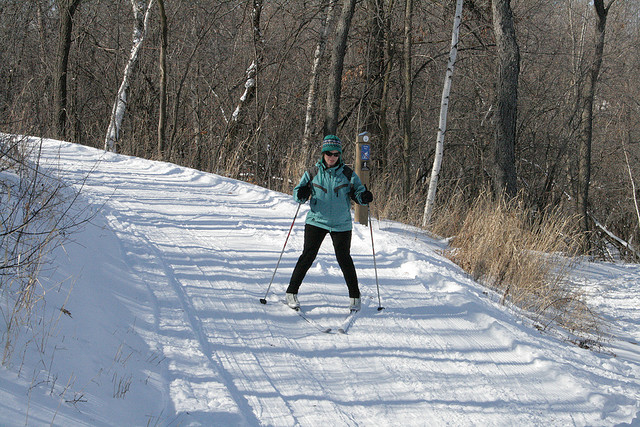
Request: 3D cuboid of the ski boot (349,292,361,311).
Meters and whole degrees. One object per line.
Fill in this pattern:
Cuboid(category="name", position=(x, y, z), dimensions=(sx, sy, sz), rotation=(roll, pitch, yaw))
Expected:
Cuboid(category="ski boot", position=(0.827, 2.026, 16.306), dimensions=(0.296, 0.312, 0.225), rotation=(8, 3, -17))

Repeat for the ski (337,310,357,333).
Cuboid(category="ski", position=(0.620, 2.405, 16.030), dimensions=(0.149, 0.181, 0.953), rotation=(12, 35, 16))
